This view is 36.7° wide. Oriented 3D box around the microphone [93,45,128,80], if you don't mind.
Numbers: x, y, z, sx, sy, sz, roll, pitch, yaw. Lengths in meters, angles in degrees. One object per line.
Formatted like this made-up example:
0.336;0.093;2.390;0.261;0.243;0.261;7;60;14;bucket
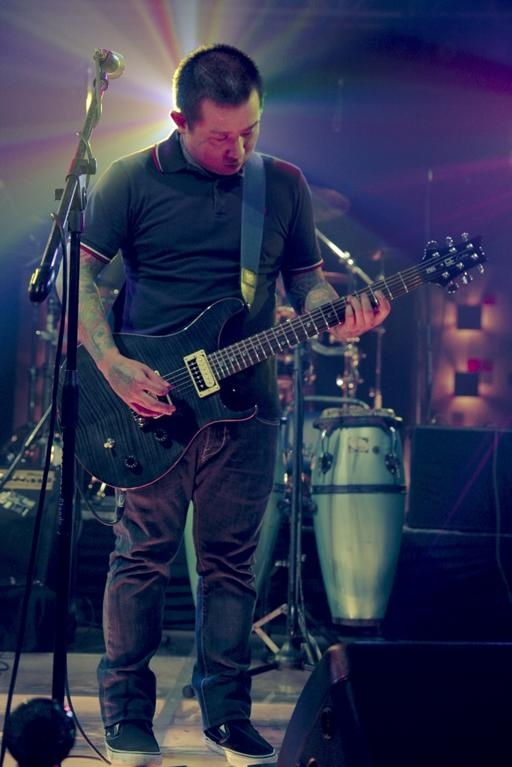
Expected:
-0.409;-0.896;2.163;0.096;0.079;0.022;36;22;-37;microphone

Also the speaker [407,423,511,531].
0.909;0.410;3.629;0.643;0.579;0.425;0;-2;8;speaker
